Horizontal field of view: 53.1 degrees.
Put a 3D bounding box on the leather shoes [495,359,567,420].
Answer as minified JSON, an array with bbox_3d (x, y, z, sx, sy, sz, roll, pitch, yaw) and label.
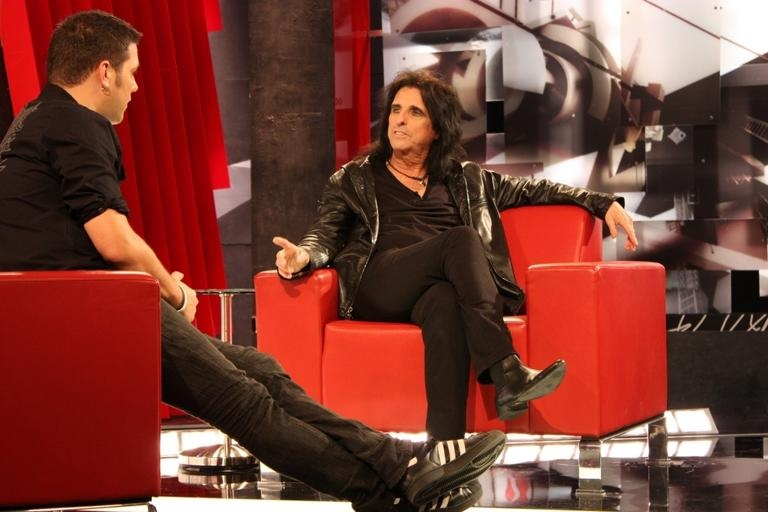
[{"bbox_3d":[0.522,0.484,2.757,0.239,0.177,0.095,-36,-45,20],"label":"leather shoes"}]

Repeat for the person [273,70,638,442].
[{"bbox_3d":[0.339,-0.003,3.242,1.463,1.524,1.021,-1,-4,13],"label":"person"}]
